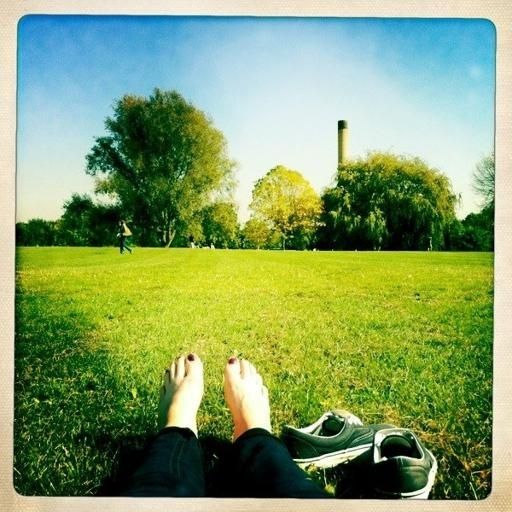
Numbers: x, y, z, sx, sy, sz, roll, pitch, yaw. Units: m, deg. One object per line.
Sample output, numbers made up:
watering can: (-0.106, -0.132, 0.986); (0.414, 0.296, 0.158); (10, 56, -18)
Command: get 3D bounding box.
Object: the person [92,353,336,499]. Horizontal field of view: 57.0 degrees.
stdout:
person: (-0.310, 1.118, 3.006); (1.097, 0.606, 1.054); (-3, 11, -11)
